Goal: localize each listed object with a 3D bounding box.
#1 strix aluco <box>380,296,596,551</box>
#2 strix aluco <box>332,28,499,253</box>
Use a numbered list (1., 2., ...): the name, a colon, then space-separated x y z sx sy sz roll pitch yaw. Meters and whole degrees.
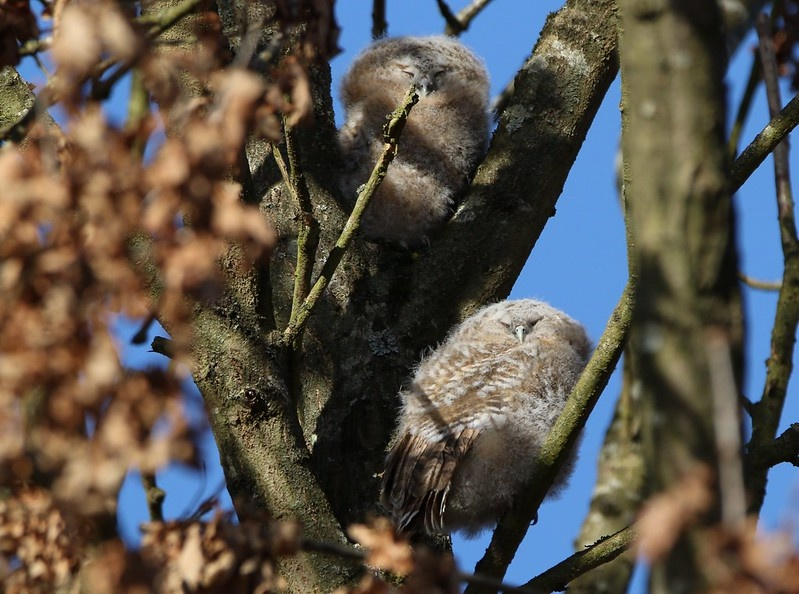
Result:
1. strix aluco: 0.238 0.421 7.277 0.840 0.616 0.689 -21 100 -39
2. strix aluco: 0.045 -0.700 8.342 0.598 0.380 1.054 1 58 11
